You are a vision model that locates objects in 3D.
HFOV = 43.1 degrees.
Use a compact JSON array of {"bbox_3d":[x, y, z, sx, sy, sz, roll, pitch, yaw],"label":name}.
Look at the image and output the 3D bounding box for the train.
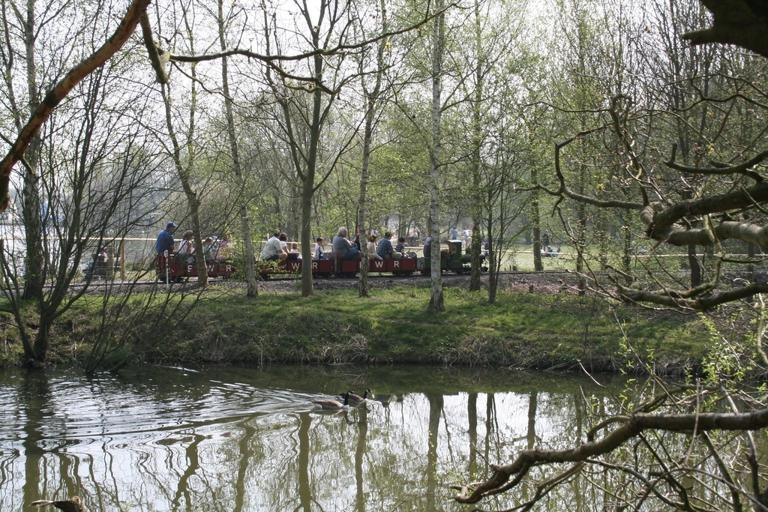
[{"bbox_3d":[-2.588,0.163,38.148,10.731,1.753,1.599,0,2,-23],"label":"train"}]
